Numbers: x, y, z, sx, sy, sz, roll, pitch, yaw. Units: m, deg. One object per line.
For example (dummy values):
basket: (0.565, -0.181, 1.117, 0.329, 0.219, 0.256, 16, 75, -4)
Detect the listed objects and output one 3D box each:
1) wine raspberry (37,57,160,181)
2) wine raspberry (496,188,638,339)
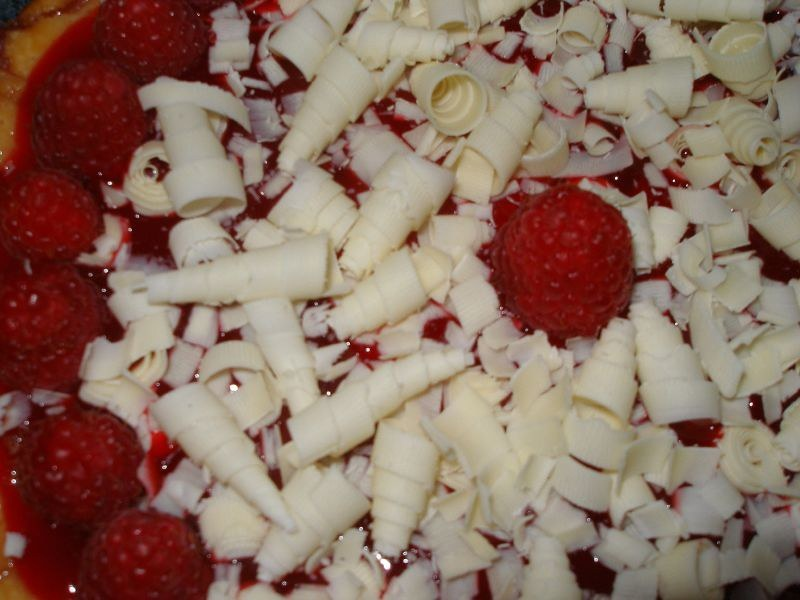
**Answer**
wine raspberry: (-0.596, -0.346, 1.770, 0.150, 0.260, 0.186, 4, 31, -14)
wine raspberry: (0.309, -0.102, 1.843, 0.280, 0.348, 0.298, 9, -7, 5)
